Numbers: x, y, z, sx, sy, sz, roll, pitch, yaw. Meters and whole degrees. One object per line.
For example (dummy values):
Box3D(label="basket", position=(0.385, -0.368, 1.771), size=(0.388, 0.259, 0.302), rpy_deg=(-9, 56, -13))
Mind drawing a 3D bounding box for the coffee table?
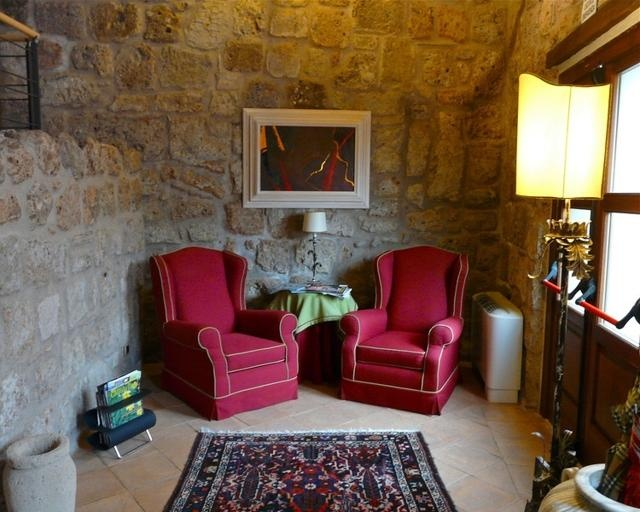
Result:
Box3D(label="coffee table", position=(-0.069, 0.754, 4.259), size=(0.645, 0.639, 0.629), rpy_deg=(-7, -17, 28))

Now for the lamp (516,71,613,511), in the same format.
Box3D(label="lamp", position=(1.059, 0.169, 2.261), size=(0.370, 1.968, 0.692), rpy_deg=(4, 11, 21))

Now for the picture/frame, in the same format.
Box3D(label="picture/frame", position=(-0.153, -0.922, 4.320), size=(0.969, 0.665, 0.035), rpy_deg=(0, 11, -2))

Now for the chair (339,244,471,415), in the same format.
Box3D(label="chair", position=(0.720, 0.507, 4.111), size=(1.173, 1.351, 1.210), rpy_deg=(3, 3, 28))

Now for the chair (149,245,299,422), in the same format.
Box3D(label="chair", position=(-0.766, 0.540, 3.867), size=(1.004, 1.122, 1.135), rpy_deg=(-1, 8, -30))

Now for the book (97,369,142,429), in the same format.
Box3D(label="book", position=(-1.266, 0.925, 3.067), size=(0.242, 0.301, 0.354), rpy_deg=(-7, -2, 29))

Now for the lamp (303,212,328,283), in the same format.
Box3D(label="lamp", position=(-0.035, -0.084, 4.307), size=(0.211, 0.651, 0.336), rpy_deg=(0, 10, 0))
